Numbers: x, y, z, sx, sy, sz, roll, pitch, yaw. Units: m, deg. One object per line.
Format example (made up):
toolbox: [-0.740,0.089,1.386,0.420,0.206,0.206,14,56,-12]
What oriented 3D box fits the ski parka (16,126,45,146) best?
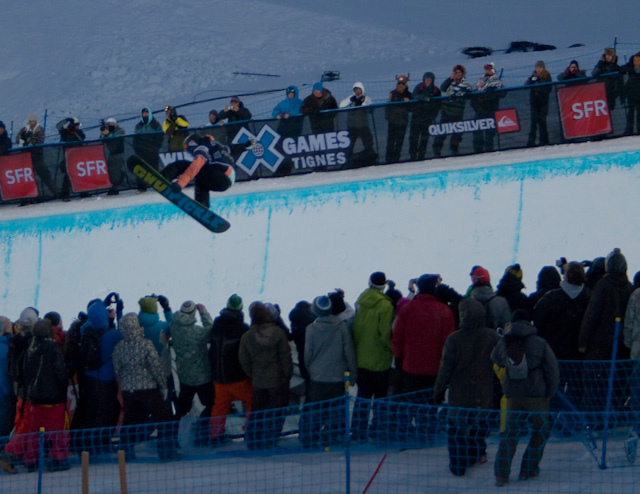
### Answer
ski parka: [-7.159,-2.689,40.228,0.458,0.435,1.205,-3,1,-33]

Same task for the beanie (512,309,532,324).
beanie: [3.925,1.368,31.530,0.279,0.279,0.286,-1,-2,39]

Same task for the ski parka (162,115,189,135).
ski parka: [-3.490,-2.863,38.948,0.606,0.402,0.802,-3,1,-6]

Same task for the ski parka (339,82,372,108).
ski parka: [0.825,-3.546,38.430,0.710,0.499,1.173,-3,1,1]

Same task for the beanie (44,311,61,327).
beanie: [-5.526,1.513,33.486,0.239,0.309,0.303,0,8,-3]

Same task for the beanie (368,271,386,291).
beanie: [1.150,0.692,32.913,0.260,0.370,0.367,8,39,3]

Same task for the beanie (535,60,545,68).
beanie: [5.086,-4.187,37.393,0.169,0.155,0.186,3,-12,10]

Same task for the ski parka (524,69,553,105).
ski parka: [5.044,-3.615,37.218,0.610,0.618,0.641,-3,1,8]

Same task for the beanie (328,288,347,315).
beanie: [0.364,1.107,32.747,0.295,0.507,0.497,2,42,-2]

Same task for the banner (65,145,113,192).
banner: [-5.609,-1.905,39.553,1.048,1.154,0.152,1,27,11]

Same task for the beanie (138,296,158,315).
beanie: [-3.501,1.236,33.480,0.365,0.397,0.266,-11,9,-38]

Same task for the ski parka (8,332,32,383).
ski parka: [-6.137,2.258,32.853,0.327,0.895,0.614,9,-2,-36]

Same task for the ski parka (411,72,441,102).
ski parka: [2.452,-3.639,37.571,0.696,0.551,0.579,-3,1,10]

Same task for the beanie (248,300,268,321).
beanie: [-1.242,1.311,32.751,0.269,0.403,0.335,6,-28,4]

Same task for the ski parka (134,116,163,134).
ski parka: [-4.180,-3.045,39.457,0.703,0.729,0.393,0,1,2]

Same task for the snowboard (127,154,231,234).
snowboard: [-3.105,-1.138,36.468,0.534,2.122,0.300,-43,1,22]

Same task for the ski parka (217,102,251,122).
ski parka: [-2.069,-3.233,39.719,0.949,0.529,1.250,-3,8,4]

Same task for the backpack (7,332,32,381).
backpack: [-6.083,2.292,32.813,0.265,0.847,0.586,1,-5,24]

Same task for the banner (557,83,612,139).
banner: [6.083,-3.080,36.902,1.065,1.249,0.054,-3,13,12]

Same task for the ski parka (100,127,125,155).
ski parka: [-5.015,-2.519,39.440,0.516,0.581,0.745,-3,1,-4]

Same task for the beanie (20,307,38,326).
beanie: [-5.946,1.466,33.233,0.283,0.391,0.354,7,-26,20]

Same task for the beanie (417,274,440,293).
beanie: [2.172,0.786,32.558,0.365,0.396,0.300,8,-16,-1]

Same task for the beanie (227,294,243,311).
beanie: [-1.725,1.148,32.983,0.233,0.337,0.310,1,-1,-7]
